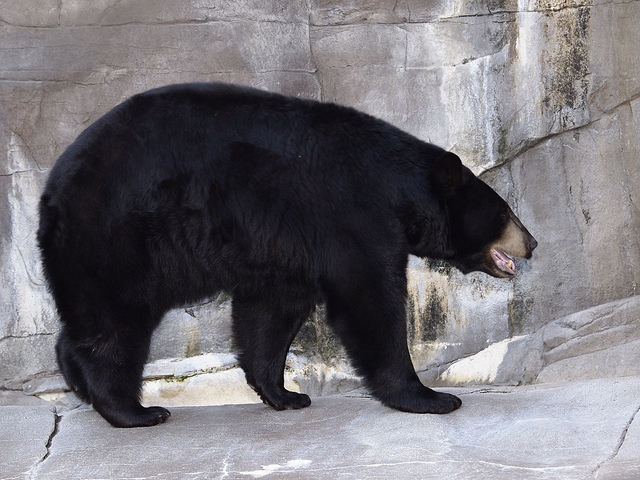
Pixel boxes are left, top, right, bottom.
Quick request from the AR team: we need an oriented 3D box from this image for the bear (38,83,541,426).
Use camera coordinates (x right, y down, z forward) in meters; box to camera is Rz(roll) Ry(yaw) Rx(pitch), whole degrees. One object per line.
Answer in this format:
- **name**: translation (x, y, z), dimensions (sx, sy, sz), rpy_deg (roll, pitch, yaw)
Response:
- **bear**: translation (-0.178, 0.118, 8.935), dimensions (3.423, 1.966, 1.394), rpy_deg (-1, 7, -10)
